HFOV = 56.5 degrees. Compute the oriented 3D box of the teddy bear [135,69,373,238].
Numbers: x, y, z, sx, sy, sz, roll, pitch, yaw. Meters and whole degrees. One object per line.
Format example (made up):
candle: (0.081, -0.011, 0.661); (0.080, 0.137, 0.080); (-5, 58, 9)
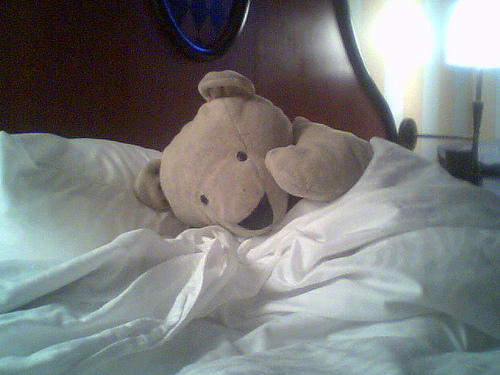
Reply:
teddy bear: (0.018, -0.046, 1.323); (0.528, 0.435, 0.309); (1, -22, 25)
